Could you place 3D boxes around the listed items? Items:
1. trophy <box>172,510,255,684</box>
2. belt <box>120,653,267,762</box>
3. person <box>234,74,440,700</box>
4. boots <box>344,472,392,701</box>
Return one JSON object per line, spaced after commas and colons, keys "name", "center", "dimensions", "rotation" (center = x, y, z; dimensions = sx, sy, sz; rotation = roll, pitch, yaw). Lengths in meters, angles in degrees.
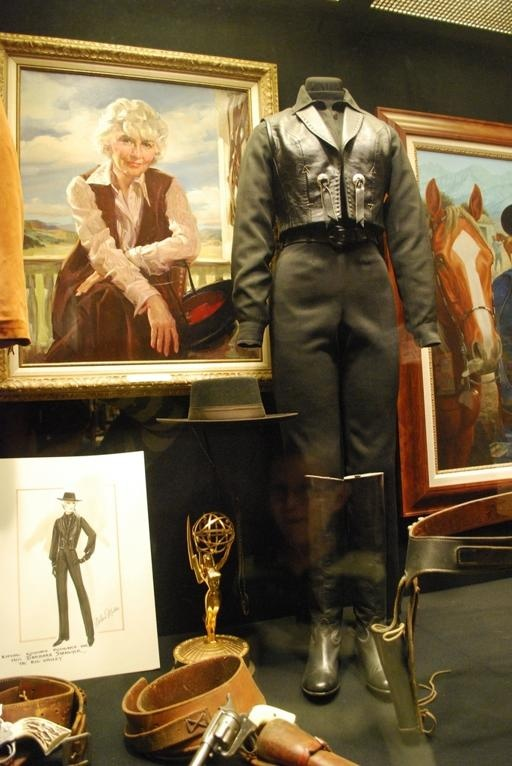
{"name": "trophy", "center": [-0.117, 0.506, 1.630], "dimensions": [0.172, 0.391, 0.170], "rotation": [2, 4, -28]}
{"name": "belt", "center": [-0.161, 0.597, 1.337], "dimensions": [0.334, 0.172, 0.267], "rotation": [-1, -1, -23]}
{"name": "person", "center": [0.169, -0.027, 1.745], "dimensions": [0.449, 1.514, 0.451], "rotation": [-1, 6, -20]}
{"name": "boots", "center": [0.213, 0.440, 1.513], "dimensions": [0.142, 0.397, 0.158], "rotation": [2, 6, -5]}
